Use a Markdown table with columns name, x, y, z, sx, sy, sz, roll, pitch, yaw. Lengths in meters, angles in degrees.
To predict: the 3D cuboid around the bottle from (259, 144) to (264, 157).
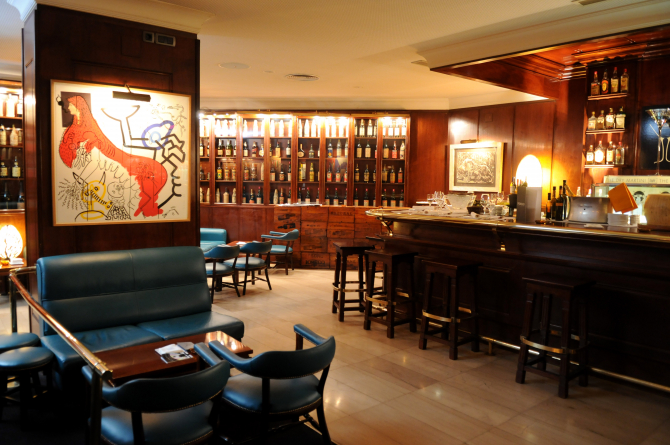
| name | x | y | z | sx | sy | sz | roll | pitch | yaw |
| --- | --- | --- | --- | --- | --- | --- | --- | --- | --- |
| bottle | -1.631 | -1.598 | 10.506 | 0.057 | 0.229 | 0.171 | -2 | -1 | 40 |

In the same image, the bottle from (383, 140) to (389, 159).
| name | x | y | z | sx | sy | sz | roll | pitch | yaw |
| --- | --- | --- | --- | --- | --- | --- | --- | --- | --- |
| bottle | 1.129 | -1.575 | 10.363 | 0.147 | 0.337 | 0.143 | 1 | 12 | 0 |

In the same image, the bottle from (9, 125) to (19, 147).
| name | x | y | z | sx | sy | sz | roll | pitch | yaw |
| --- | --- | --- | --- | --- | --- | --- | --- | --- | --- |
| bottle | -5.487 | -1.467 | 8.091 | 0.139 | 0.327 | 0.312 | -7 | 14 | -33 |

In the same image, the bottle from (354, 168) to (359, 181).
| name | x | y | z | sx | sy | sz | roll | pitch | yaw |
| --- | --- | --- | --- | --- | --- | --- | --- | --- | --- |
| bottle | 0.500 | -1.062 | 10.419 | 0.118 | 0.313 | 0.077 | 2 | 12 | 4 |

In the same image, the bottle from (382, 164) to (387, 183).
| name | x | y | z | sx | sy | sz | roll | pitch | yaw |
| --- | --- | --- | --- | --- | --- | --- | --- | --- | --- |
| bottle | 1.101 | -1.060 | 10.399 | 0.120 | 0.311 | 0.106 | 2 | 12 | 2 |

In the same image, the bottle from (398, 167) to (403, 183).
| name | x | y | z | sx | sy | sz | roll | pitch | yaw |
| --- | --- | --- | --- | --- | --- | --- | --- | --- | --- |
| bottle | 1.442 | -1.035 | 10.370 | 0.113 | 0.323 | 0.111 | 1 | 12 | 0 |

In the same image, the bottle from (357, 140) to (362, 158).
| name | x | y | z | sx | sy | sz | roll | pitch | yaw |
| --- | --- | --- | --- | --- | --- | --- | --- | --- | --- |
| bottle | 0.540 | -1.604 | 10.371 | 0.152 | 0.368 | 0.112 | 2 | 12 | 5 |

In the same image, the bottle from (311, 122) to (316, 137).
| name | x | y | z | sx | sy | sz | roll | pitch | yaw |
| --- | --- | --- | --- | --- | --- | --- | --- | --- | --- |
| bottle | -0.457 | -2.045 | 10.374 | 0.131 | 0.298 | 0.073 | 1 | 12 | -3 |

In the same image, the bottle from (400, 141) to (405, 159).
| name | x | y | z | sx | sy | sz | roll | pitch | yaw |
| --- | --- | --- | --- | --- | --- | --- | --- | --- | --- |
| bottle | 1.475 | -1.579 | 10.291 | 0.107 | 0.366 | 0.154 | 1 | 12 | 0 |

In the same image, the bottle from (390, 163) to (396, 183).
| name | x | y | z | sx | sy | sz | roll | pitch | yaw |
| --- | --- | --- | --- | --- | --- | --- | --- | --- | --- |
| bottle | 1.273 | -1.051 | 10.385 | 0.119 | 0.352 | 0.133 | 2 | 12 | 3 |

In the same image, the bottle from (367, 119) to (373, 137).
| name | x | y | z | sx | sy | sz | roll | pitch | yaw |
| --- | --- | --- | --- | --- | --- | --- | --- | --- | --- |
| bottle | 0.782 | -2.074 | 10.338 | 0.119 | 0.367 | 0.101 | 1 | 12 | -2 |

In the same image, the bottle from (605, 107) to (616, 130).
| name | x | y | z | sx | sy | sz | roll | pitch | yaw |
| --- | --- | --- | --- | --- | --- | --- | --- | --- | --- |
| bottle | 4.341 | -1.641 | 7.453 | 0.124 | 0.329 | 0.210 | 5 | 12 | 20 |

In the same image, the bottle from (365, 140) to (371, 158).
| name | x | y | z | sx | sy | sz | roll | pitch | yaw |
| --- | --- | --- | --- | --- | --- | --- | --- | --- | --- |
| bottle | 0.735 | -1.576 | 10.365 | 0.132 | 0.308 | 0.155 | 2 | 12 | 5 |

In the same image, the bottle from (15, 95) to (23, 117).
| name | x | y | z | sx | sy | sz | roll | pitch | yaw |
| --- | --- | --- | --- | --- | --- | --- | --- | --- | --- |
| bottle | -5.357 | -1.966 | 8.018 | 0.095 | 0.352 | 0.131 | 1 | 12 | -2 |

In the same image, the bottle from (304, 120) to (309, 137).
| name | x | y | z | sx | sy | sz | roll | pitch | yaw |
| --- | --- | --- | --- | --- | --- | --- | --- | --- | --- |
| bottle | -0.602 | -2.079 | 10.401 | 0.101 | 0.356 | 0.089 | 0 | 12 | -5 |

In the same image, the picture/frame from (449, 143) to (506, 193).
| name | x | y | z | sx | sy | sz | roll | pitch | yaw |
| --- | --- | --- | --- | --- | --- | --- | --- | --- | --- |
| picture/frame | 3.003 | -1.133 | 9.823 | 1.224 | 1.047 | 0.129 | 9 | 12 | 44 |

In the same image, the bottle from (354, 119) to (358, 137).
| name | x | y | z | sx | sy | sz | roll | pitch | yaw |
| --- | --- | --- | --- | --- | --- | --- | --- | --- | --- |
| bottle | 0.475 | -2.063 | 10.325 | 0.078 | 0.380 | 0.094 | 2 | 12 | 7 |

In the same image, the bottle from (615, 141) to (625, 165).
| name | x | y | z | sx | sy | sz | roll | pitch | yaw |
| --- | --- | --- | --- | --- | --- | --- | --- | --- | --- |
| bottle | 4.444 | -1.077 | 7.359 | 0.150 | 0.342 | 0.175 | 8 | 14 | 32 |

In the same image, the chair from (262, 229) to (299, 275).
| name | x | y | z | sx | sy | sz | roll | pitch | yaw |
| --- | --- | --- | --- | --- | --- | --- | --- | --- | --- |
| chair | -1.048 | 0.591 | 9.690 | 0.921 | 1.042 | 0.867 | 3 | 3 | 11 |

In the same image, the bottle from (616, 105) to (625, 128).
| name | x | y | z | sx | sy | sz | roll | pitch | yaw |
| --- | --- | --- | --- | --- | --- | --- | --- | --- | --- |
| bottle | 4.428 | -1.618 | 7.322 | 0.140 | 0.332 | 0.157 | 7 | 13 | 25 |

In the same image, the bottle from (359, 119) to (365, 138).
| name | x | y | z | sx | sy | sz | roll | pitch | yaw |
| --- | --- | --- | --- | --- | --- | --- | --- | --- | --- |
| bottle | 0.612 | -2.074 | 10.338 | 0.121 | 0.367 | 0.087 | -1 | 12 | -8 |

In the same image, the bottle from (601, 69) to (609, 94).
| name | x | y | z | sx | sy | sz | roll | pitch | yaw |
| --- | --- | --- | --- | --- | --- | --- | --- | --- | --- |
| bottle | 4.246 | -2.209 | 7.426 | 0.103 | 0.373 | 0.293 | 7 | 13 | 29 |

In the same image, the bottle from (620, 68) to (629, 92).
| name | x | y | z | sx | sy | sz | roll | pitch | yaw |
| --- | --- | --- | --- | --- | --- | --- | --- | --- | --- |
| bottle | 4.418 | -2.173 | 7.207 | 0.105 | 0.354 | 0.197 | 7 | 13 | 25 |

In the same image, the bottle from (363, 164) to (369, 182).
| name | x | y | z | sx | sy | sz | roll | pitch | yaw |
| --- | --- | --- | --- | --- | --- | --- | --- | --- | --- |
| bottle | 0.708 | -1.082 | 10.411 | 0.131 | 0.356 | 0.085 | 0 | 12 | -6 |

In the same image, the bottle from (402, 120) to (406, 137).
| name | x | y | z | sx | sy | sz | roll | pitch | yaw |
| --- | --- | --- | --- | --- | --- | --- | --- | --- | --- |
| bottle | 1.511 | -2.025 | 10.201 | 0.065 | 0.350 | 0.171 | -6 | 14 | -32 |

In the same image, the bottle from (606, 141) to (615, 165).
| name | x | y | z | sx | sy | sz | roll | pitch | yaw |
| --- | --- | --- | --- | --- | --- | --- | --- | --- | --- |
| bottle | 4.373 | -1.107 | 7.485 | 0.118 | 0.365 | 0.271 | 7 | 13 | 27 |

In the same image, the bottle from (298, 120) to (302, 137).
| name | x | y | z | sx | sy | sz | roll | pitch | yaw |
| --- | --- | --- | --- | --- | --- | --- | --- | --- | --- |
| bottle | -0.746 | -2.079 | 10.399 | 0.130 | 0.384 | 0.084 | 0 | 12 | -5 |

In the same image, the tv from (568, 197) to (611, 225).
| name | x | y | z | sx | sy | sz | roll | pitch | yaw |
| --- | --- | --- | --- | --- | --- | --- | --- | --- | --- |
| tv | 3.107 | -0.158 | 5.775 | 0.379 | 0.272 | 0.378 | 3 | 4 | 27 |

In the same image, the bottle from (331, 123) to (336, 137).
| name | x | y | z | sx | sy | sz | roll | pitch | yaw |
| --- | --- | --- | --- | --- | --- | --- | --- | --- | --- |
| bottle | -0.019 | -2.023 | 10.407 | 0.117 | 0.271 | 0.079 | 0 | 12 | -5 |

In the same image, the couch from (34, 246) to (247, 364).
| name | x | y | z | sx | sy | sz | roll | pitch | yaw |
| --- | --- | --- | --- | --- | --- | --- | --- | --- | --- |
| couch | -2.324 | 0.781 | 5.221 | 1.965 | 1.249 | 1.126 | -2 | 2 | -36 |

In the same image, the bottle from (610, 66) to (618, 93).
| name | x | y | z | sx | sy | sz | roll | pitch | yaw |
| --- | --- | --- | --- | --- | --- | --- | --- | --- | --- |
| bottle | 4.341 | -2.208 | 7.318 | 0.111 | 0.408 | 0.282 | 7 | 13 | 27 |

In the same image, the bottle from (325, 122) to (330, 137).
| name | x | y | z | sx | sy | sz | roll | pitch | yaw |
| --- | --- | --- | --- | --- | --- | --- | --- | --- | --- |
| bottle | -0.143 | -2.028 | 10.396 | 0.115 | 0.284 | 0.088 | -1 | 12 | -12 |

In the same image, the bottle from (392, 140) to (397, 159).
| name | x | y | z | sx | sy | sz | roll | pitch | yaw |
| --- | --- | --- | --- | --- | --- | --- | --- | --- | --- |
| bottle | 1.314 | -1.593 | 10.335 | 0.120 | 0.379 | 0.161 | 3 | 12 | 8 |

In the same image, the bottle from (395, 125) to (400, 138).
| name | x | y | z | sx | sy | sz | roll | pitch | yaw |
| --- | --- | --- | --- | --- | --- | --- | --- | --- | --- |
| bottle | 1.366 | -1.997 | 10.274 | 0.107 | 0.239 | 0.042 | 3 | 12 | 8 |
